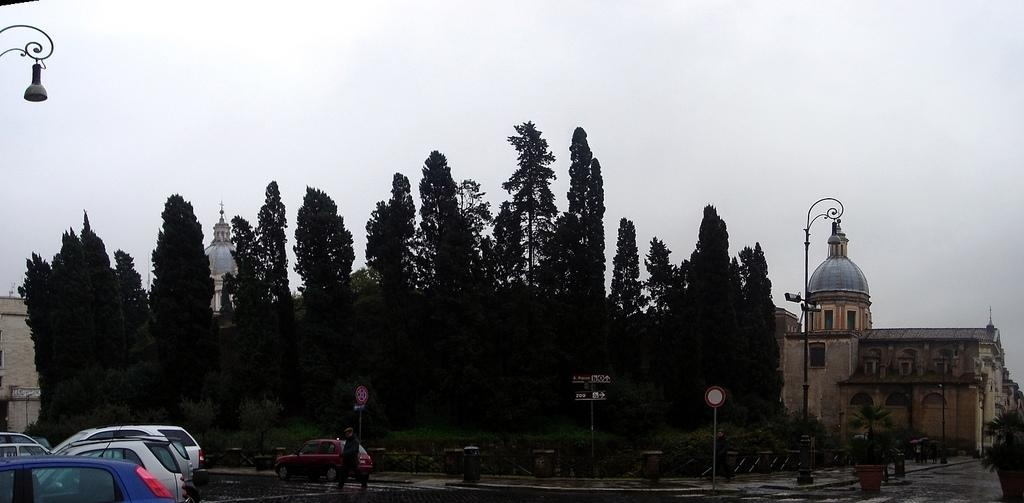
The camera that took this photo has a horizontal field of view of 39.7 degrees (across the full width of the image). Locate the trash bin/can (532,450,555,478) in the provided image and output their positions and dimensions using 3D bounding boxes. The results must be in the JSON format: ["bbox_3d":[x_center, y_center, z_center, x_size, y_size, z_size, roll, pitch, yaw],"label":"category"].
[{"bbox_3d":[3.090,21.950,146.362,3.104,2.596,2.760,1,-11,-5],"label":"trash bin/can"}]

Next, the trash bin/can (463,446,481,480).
[{"bbox_3d":[-4.201,21.609,143.412,1.565,3.512,1.660,0,-10,-7],"label":"trash bin/can"}]
